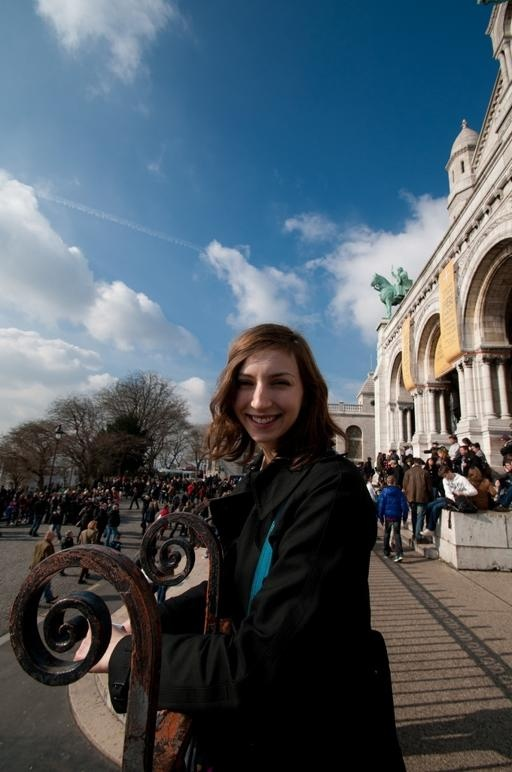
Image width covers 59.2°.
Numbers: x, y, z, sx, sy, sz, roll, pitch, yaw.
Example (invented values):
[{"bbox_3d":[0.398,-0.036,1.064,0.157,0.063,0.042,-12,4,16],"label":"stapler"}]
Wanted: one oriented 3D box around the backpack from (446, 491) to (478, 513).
[{"bbox_3d":[3.222,1.826,7.012,0.488,0.197,0.609,-1,-4,25],"label":"backpack"}]
